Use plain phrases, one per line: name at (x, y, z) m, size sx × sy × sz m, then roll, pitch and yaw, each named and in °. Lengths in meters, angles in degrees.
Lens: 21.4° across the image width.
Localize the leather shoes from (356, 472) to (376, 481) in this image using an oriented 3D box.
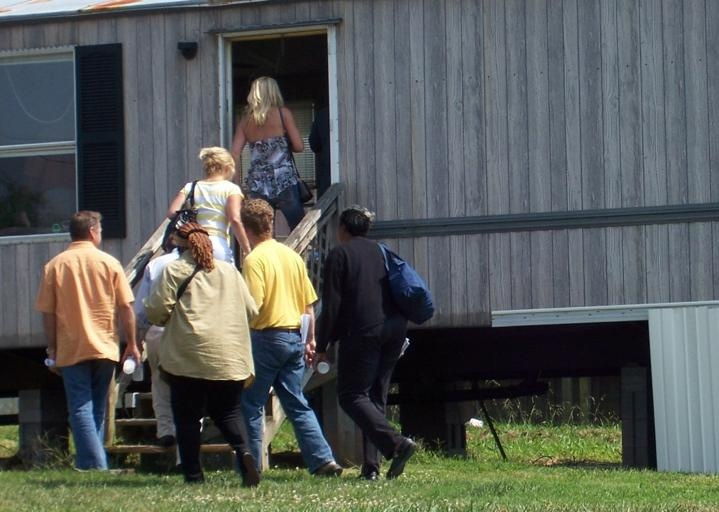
leather shoes at (0.080, 2.037, 17.350) m, size 0.172 × 0.069 × 0.259 m, roll 0°, pitch -2°, yaw -3°

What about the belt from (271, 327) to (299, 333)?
belt at (-0.675, 0.694, 17.398) m, size 0.288 × 0.053 × 0.034 m, roll 1°, pitch -2°, yaw -25°

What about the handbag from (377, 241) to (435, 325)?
handbag at (0.436, 0.296, 18.014) m, size 0.333 × 0.708 × 0.548 m, roll -24°, pitch -20°, yaw 4°

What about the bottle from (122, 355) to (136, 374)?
bottle at (-2.120, 1.034, 17.714) m, size 0.124 × 0.140 × 0.110 m, roll 0°, pitch -2°, yaw -11°

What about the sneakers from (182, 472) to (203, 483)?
sneakers at (-1.479, 2.027, 17.120) m, size 0.114 × 0.084 × 0.096 m, roll 1°, pitch -2°, yaw -11°

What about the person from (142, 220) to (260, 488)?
person at (-1.433, 0.920, 17.231) m, size 0.984 × 2.577 × 1.018 m, roll 1°, pitch -16°, yaw -8°

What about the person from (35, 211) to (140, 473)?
person at (-2.519, 0.801, 17.733) m, size 0.915 × 2.431 × 0.333 m, roll 0°, pitch -2°, yaw -12°

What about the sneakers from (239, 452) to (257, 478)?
sneakers at (-0.991, 1.908, 17.017) m, size 0.114 × 0.277 × 0.109 m, roll -14°, pitch 8°, yaw -9°

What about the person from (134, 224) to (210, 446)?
person at (-1.727, 0.585, 18.045) m, size 0.700 × 0.702 × 2.348 m, roll -12°, pitch -37°, yaw -17°

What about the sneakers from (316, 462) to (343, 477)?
sneakers at (-0.277, 2.002, 17.488) m, size 0.238 × 0.121 × 0.106 m, roll 2°, pitch -8°, yaw -3°

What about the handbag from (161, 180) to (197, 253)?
handbag at (-1.653, -0.321, 18.208) m, size 0.425 × 0.641 × 0.215 m, roll -23°, pitch -46°, yaw 37°
